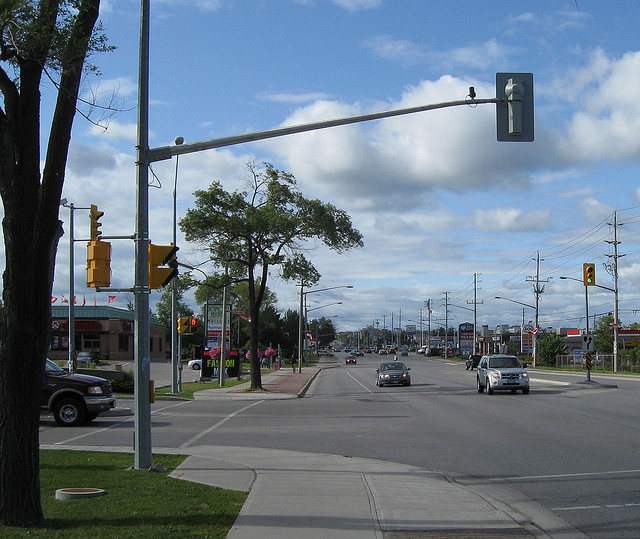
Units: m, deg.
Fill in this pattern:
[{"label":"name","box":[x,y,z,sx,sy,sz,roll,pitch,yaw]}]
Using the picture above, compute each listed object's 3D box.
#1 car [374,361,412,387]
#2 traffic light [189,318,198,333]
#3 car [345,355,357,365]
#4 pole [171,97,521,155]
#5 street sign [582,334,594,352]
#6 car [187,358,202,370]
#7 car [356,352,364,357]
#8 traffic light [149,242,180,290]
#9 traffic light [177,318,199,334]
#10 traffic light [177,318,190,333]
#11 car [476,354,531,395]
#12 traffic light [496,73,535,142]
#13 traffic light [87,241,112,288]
[{"label":"car","box":[3.718,5.266,39.919,1.472,1.276,2.117,1,-9,-4]},{"label":"traffic light","box":[-5.679,2.499,35.409,0.373,0.649,1.022,2,-9,-10]},{"label":"car","box":[3.868,11.362,98.739,1.823,1.267,2.994,0,-11,-2]},{"label":"pole","box":[0.227,-2.480,13.778,5.554,0.791,0.138,-12,-42,-6]},{"label":"street sign","box":[12.684,3.474,37.359,0.465,0.800,0.944,-2,-9,17]},{"label":"car","box":[-10.783,8.189,68.038,0.808,0.967,5.309,2,-10,-12]},{"label":"car","box":[6.862,14.639,137.455,0.963,0.875,1.748,-1,-10,5]},{"label":"traffic light","box":[-2.666,-0.019,13.516,0.433,0.766,0.631,-2,-8,18]},{"label":"traffic light","box":[-5.898,2.342,35.194,1.027,0.970,0.606,-1,-5,-8]},{"label":"traffic light","box":[-6.111,2.518,35.350,0.373,0.724,0.705,0,0,-45]},{"label":"car","box":[7.321,4.173,31.381,1.792,1.599,2.116,-1,-9,10]},{"label":"traffic light","box":[3.359,-2.811,13.598,0.617,1.232,0.159,0,-7,0]},{"label":"traffic light","box":[-3.782,-0.124,13.262,0.451,0.719,0.446,3,5,14]}]
